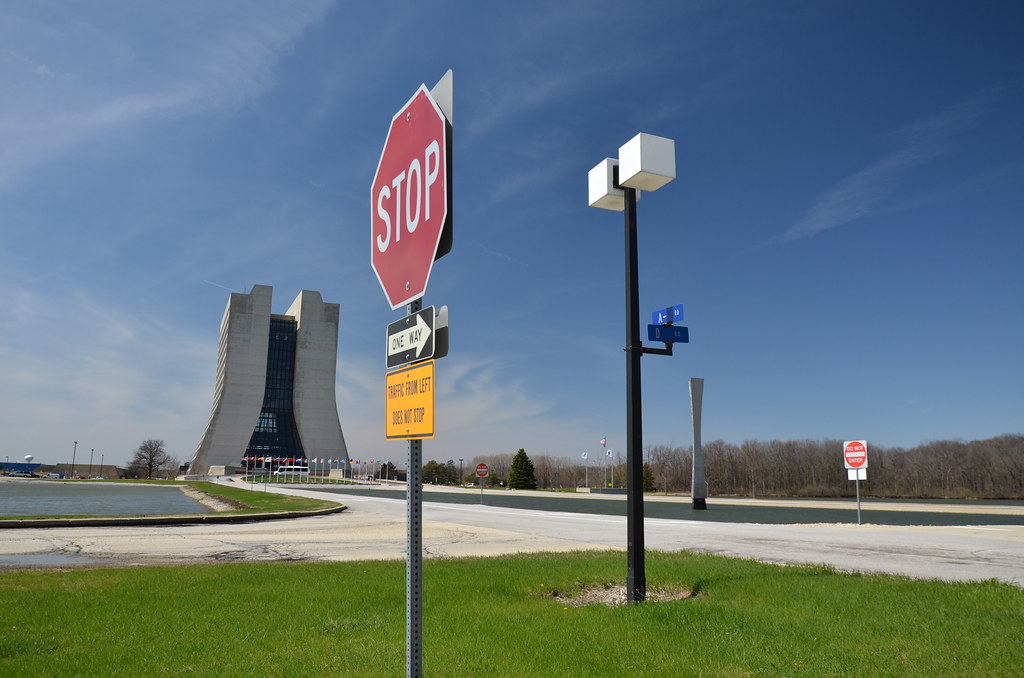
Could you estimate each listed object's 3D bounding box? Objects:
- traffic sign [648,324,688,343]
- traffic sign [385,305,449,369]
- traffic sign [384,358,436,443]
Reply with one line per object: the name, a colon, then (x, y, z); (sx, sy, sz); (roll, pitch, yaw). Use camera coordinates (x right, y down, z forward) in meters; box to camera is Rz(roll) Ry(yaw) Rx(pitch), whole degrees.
traffic sign: (3.172, -0.098, 14.800); (0.622, 0.358, 0.036); (4, -14, -4)
traffic sign: (-1.040, -0.011, 8.268); (0.213, 0.490, 0.635); (13, -19, -43)
traffic sign: (-1.131, 0.709, 8.260); (0.086, 0.939, 0.847); (7, -9, -40)
